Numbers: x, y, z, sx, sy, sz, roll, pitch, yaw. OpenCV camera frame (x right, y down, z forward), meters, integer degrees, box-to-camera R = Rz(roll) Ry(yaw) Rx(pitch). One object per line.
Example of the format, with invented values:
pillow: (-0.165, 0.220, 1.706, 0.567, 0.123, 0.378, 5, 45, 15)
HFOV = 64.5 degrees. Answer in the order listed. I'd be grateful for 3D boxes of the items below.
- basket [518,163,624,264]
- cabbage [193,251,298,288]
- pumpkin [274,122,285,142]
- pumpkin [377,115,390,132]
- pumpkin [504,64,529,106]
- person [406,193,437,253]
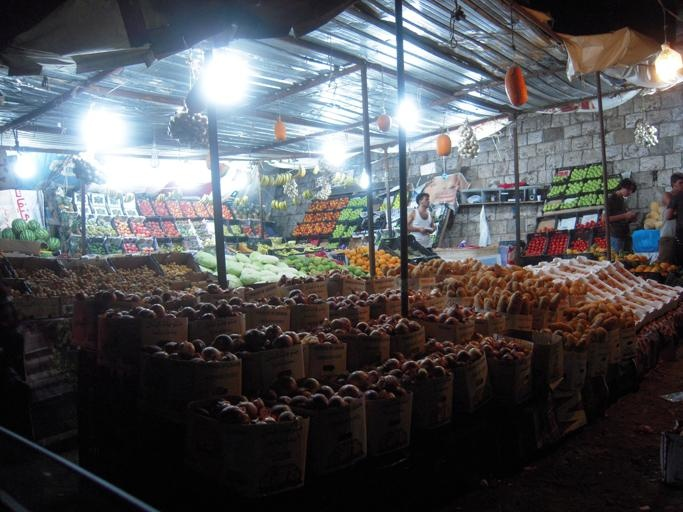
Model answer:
basket: (4.156, -0.839, 9.741, 1.488, 2.143, 0.694, -3, -28, 47)
cabbage: (-0.987, 0.137, 6.194, 0.680, 0.206, 0.680, 4, 2, 20)
pumpkin: (-0.953, -1.942, 8.405, 0.143, 0.273, 0.234, 9, 12, -1)
pumpkin: (0.634, -1.979, 8.100, 0.231, 0.263, 0.225, -10, 15, -24)
pumpkin: (2.028, -1.987, 6.280, 0.268, 0.418, 0.265, 11, 12, 12)
person: (1.317, -0.277, 8.766, 0.509, 1.394, 0.441, 1, 1, -24)
